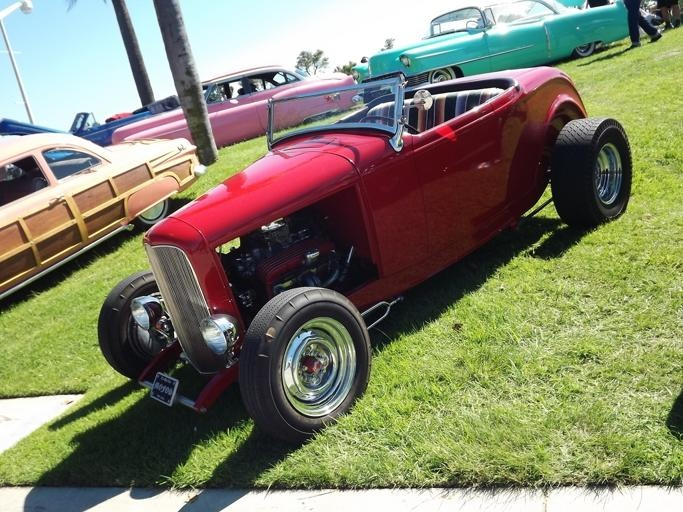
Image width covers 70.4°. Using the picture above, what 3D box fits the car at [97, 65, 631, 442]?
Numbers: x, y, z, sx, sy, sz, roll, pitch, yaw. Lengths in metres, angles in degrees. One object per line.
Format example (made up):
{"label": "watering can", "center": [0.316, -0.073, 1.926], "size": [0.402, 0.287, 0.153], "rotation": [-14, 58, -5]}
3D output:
{"label": "car", "center": [0.676, -0.539, 4.635], "size": [5.012, 1.983, 2.489], "rotation": [-28, 21, -22]}
